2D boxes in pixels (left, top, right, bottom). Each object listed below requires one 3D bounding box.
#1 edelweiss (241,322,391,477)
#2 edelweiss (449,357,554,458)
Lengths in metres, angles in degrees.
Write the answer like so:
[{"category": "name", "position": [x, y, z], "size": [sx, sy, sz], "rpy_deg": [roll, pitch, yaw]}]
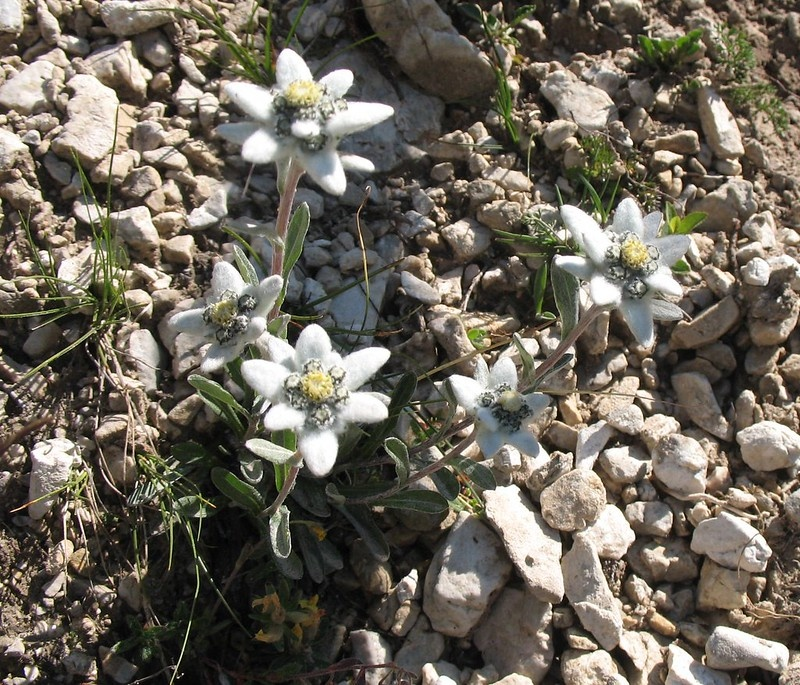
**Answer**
[{"category": "edelweiss", "position": [-0.447, 0.283, 3.967], "size": [0.733, 0.425, 0.709], "rpy_deg": [29, 56, 5]}, {"category": "edelweiss", "position": [0.509, 0.333, 4.156], "size": [0.481, 0.309, 0.551], "rpy_deg": [4, 57, -12]}]
